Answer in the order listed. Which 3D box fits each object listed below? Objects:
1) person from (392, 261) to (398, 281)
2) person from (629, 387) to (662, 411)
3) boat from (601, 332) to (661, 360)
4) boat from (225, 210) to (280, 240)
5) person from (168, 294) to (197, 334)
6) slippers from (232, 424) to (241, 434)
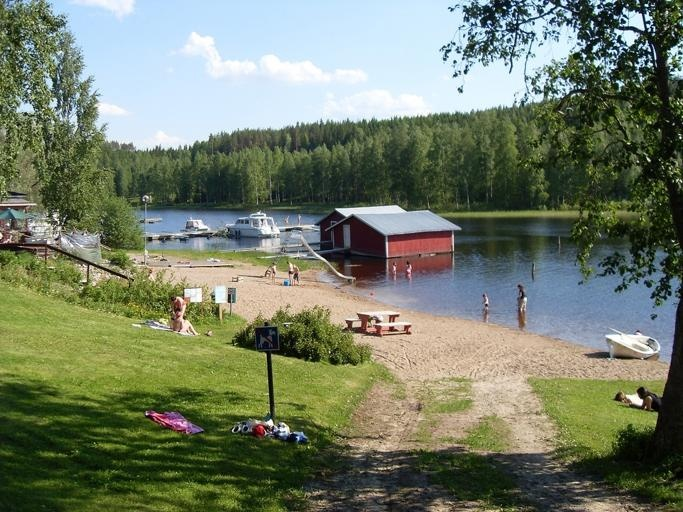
[{"bbox_3d":[4.014,1.155,71.365,0.438,0.709,1.158,2,21,3],"label":"person"},{"bbox_3d":[11.424,5.302,35.477,0.786,0.806,1.157,3,8,15],"label":"person"},{"bbox_3d":[13.505,4.158,43.990,2.741,0.883,1.897,-5,10,-40],"label":"boat"},{"bbox_3d":[-9.426,-3.035,104.858,3.988,2.345,6.555,-5,10,-42],"label":"boat"},{"bbox_3d":[-6.250,2.376,37.716,0.976,1.489,1.147,1,7,-5],"label":"person"},{"bbox_3d":[-3.203,5.289,29.309,0.295,0.247,0.320,6,9,33],"label":"slippers"}]
